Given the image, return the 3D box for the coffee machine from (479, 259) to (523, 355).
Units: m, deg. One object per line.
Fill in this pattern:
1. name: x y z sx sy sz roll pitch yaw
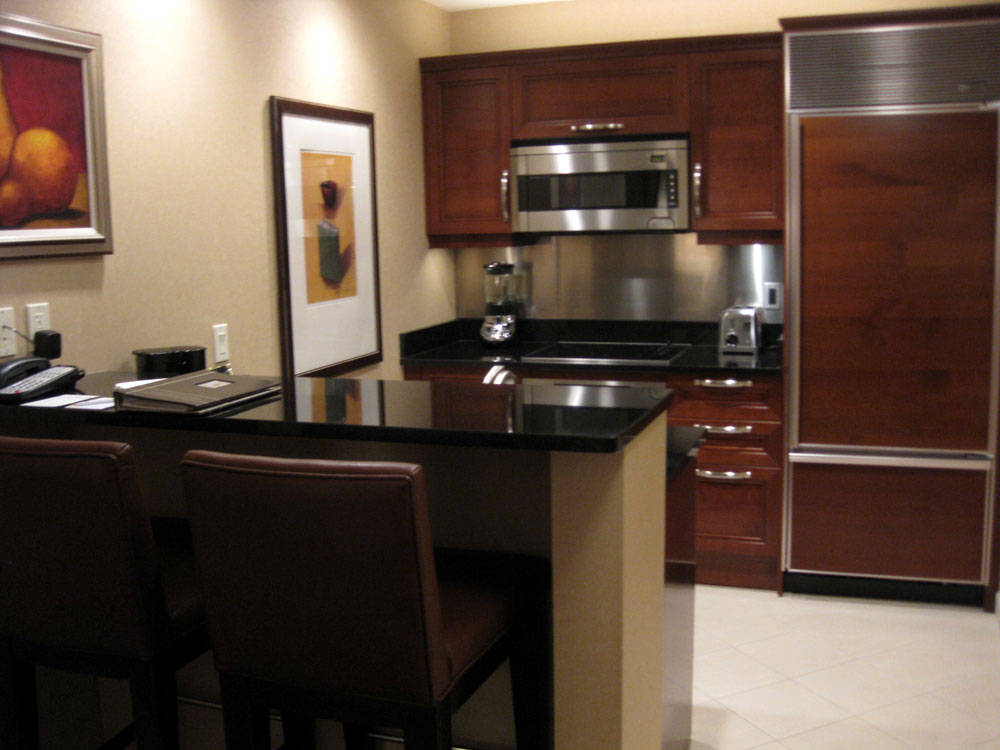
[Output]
1. coffee machine: -0.015 -0.416 4.843 0.252 0.463 0.331 3 11 12
